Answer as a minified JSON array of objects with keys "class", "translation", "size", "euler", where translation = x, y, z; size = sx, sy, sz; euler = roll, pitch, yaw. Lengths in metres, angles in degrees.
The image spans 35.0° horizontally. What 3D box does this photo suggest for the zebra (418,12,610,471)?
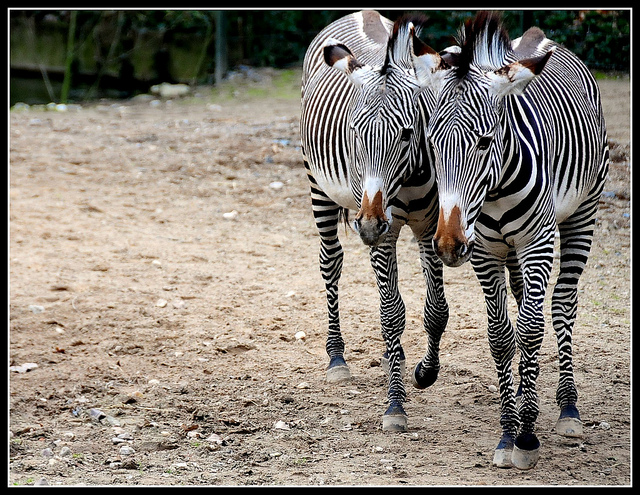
[{"class":"zebra","translation":[1.376,-0.068,7.020],"size":[1.612,3.035,0.784],"euler":[-8,14,-40]}]
